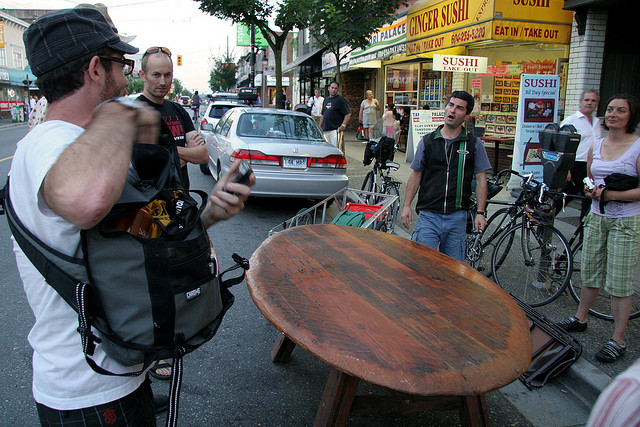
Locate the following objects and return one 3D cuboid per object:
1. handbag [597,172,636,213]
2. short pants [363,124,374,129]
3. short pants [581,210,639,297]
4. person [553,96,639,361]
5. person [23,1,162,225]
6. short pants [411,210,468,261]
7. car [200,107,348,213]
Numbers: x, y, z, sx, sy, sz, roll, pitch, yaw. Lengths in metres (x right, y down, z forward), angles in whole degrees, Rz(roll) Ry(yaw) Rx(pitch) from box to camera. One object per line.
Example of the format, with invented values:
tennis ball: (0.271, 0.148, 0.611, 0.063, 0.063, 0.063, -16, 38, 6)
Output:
handbag: (2.748, -0.172, 3.936, 0.270, 0.370, 0.186, 8, 17, 29)
short pants: (1.828, -3.234, 16.166, 0.214, 0.183, 0.841, -5, 17, -15)
short pants: (2.690, 0.370, 3.972, 0.480, 0.742, 0.376, 13, 20, 41)
person: (2.749, 0.092, 4.003, 0.639, 2.260, 1.168, 9, 18, 32)
person: (-0.936, -0.438, 1.796, 0.481, 0.872, 0.615, -11, 18, -33)
short pants: (1.216, 0.228, 4.287, 0.353, 0.492, 0.173, 16, 7, -15)
car: (-0.686, -0.877, 7.808, 1.493, 1.092, 3.199, -3, 22, -15)
